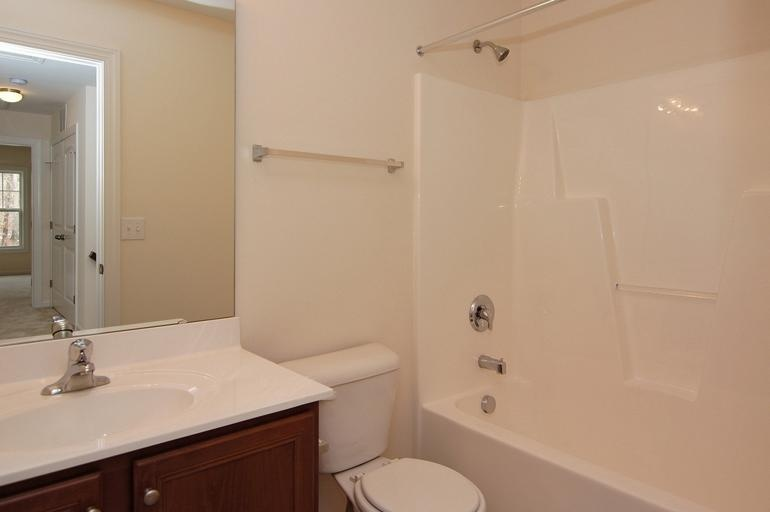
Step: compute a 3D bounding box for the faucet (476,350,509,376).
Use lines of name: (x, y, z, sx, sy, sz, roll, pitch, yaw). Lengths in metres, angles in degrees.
faucet: (0.601, 0.602, 2.859, 0.095, 0.079, 0.163, 1, 2, -39)

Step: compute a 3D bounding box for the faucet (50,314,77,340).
faucet: (-1.207, 0.268, 1.910, 0.054, 0.091, 0.091, 0, -15, -37)
